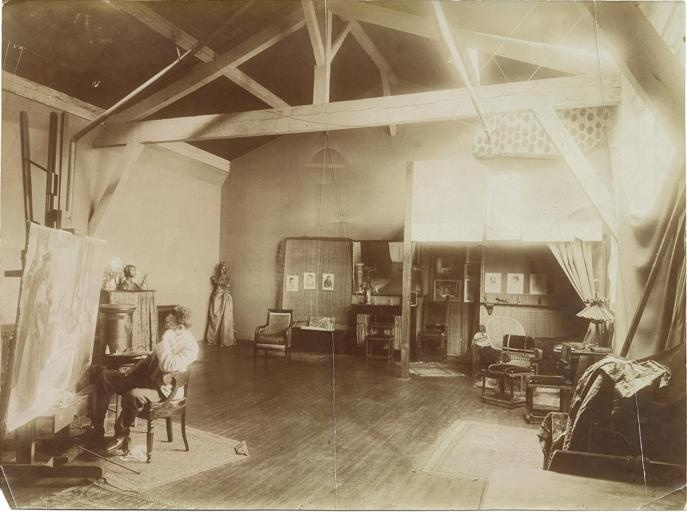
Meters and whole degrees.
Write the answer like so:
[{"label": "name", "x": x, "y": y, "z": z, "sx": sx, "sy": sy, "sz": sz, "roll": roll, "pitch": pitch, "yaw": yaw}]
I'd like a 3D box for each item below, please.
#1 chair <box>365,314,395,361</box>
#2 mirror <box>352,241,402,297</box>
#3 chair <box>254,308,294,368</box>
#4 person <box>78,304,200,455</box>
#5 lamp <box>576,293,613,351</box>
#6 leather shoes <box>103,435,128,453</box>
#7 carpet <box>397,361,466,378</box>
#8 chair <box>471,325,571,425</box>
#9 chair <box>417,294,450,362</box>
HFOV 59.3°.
[{"label": "chair", "x": 0.677, "y": 1.479, "z": 11.144, "sx": 0.520, "sy": 0.762, "sz": 0.450, "roll": 2, "pitch": 5, "yaw": 4}, {"label": "mirror", "x": 0.602, "y": 0.241, "z": 11.368, "sx": 0.935, "sy": 1.092, "sz": 0.049, "roll": 0, "pitch": 4, "yaw": -1}, {"label": "chair", "x": -1.160, "y": 1.307, "z": 10.041, "sx": 0.656, "sy": 0.841, "sz": 0.703, "roll": 3, "pitch": -4, "yaw": -8}, {"label": "person", "x": -2.343, "y": 1.439, "z": 7.238, "sx": 0.817, "sy": 1.707, "sz": 0.941, "roll": 10, "pitch": -11, "yaw": 37}, {"label": "lamp", "x": 3.547, "y": 0.952, "z": 8.741, "sx": 0.603, "sy": 0.938, "sz": 0.616, "roll": 2, "pitch": -3, "yaw": -41}, {"label": "leather shoes", "x": -2.642, "y": 2.186, "z": 7.019, "sx": 0.140, "sy": 0.134, "sz": 0.268, "roll": -2, "pitch": -17, "yaw": 12}, {"label": "carpet", "x": 1.446, "y": 1.922, "z": 10.215, "sx": 0.927, "sy": 0.073, "sz": 1.186, "roll": 1, "pitch": 5, "yaw": -12}, {"label": "chair", "x": 2.502, "y": 1.611, "z": 8.650, "sx": 1.141, "sy": 0.958, "sz": 1.692, "roll": 1, "pitch": 5, "yaw": -12}, {"label": "chair", "x": 1.631, "y": 1.368, "z": 10.976, "sx": 0.529, "sy": 1.048, "sz": 0.438, "roll": -1, "pitch": -3, "yaw": 37}]
